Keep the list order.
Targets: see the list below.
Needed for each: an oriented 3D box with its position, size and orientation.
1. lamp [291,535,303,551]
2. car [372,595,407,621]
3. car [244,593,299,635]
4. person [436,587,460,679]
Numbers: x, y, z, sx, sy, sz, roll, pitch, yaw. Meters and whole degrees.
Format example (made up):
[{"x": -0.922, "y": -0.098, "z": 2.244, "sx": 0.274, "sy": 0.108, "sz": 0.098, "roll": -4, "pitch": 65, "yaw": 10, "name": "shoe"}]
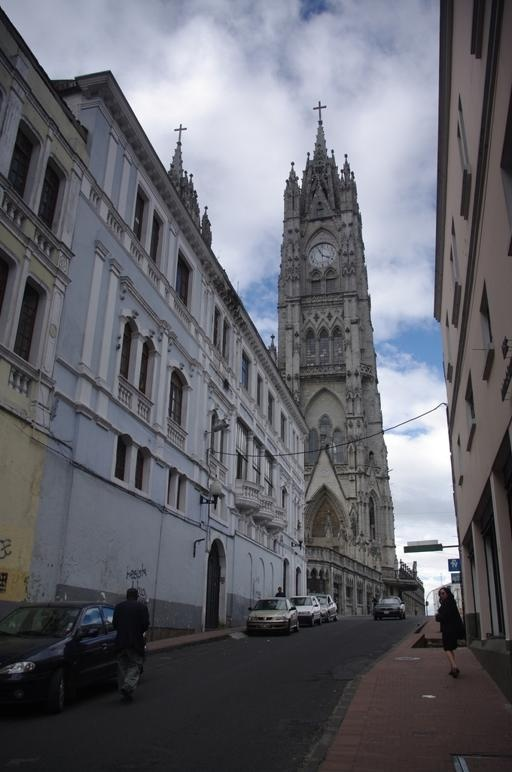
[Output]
[{"x": 3.474, "y": 13.251, "z": 41.053, "sx": 0.546, "sy": 0.966, "sz": 2.506, "roll": -6, "pitch": -10, "yaw": 9, "name": "lamp"}, {"x": 10.156, "y": 16.815, "z": 37.209, "sx": 2.997, "sy": 1.564, "sz": 1.833, "roll": 18, "pitch": -28, "yaw": -36, "name": "car"}, {"x": 0.696, "y": 10.312, "z": 22.050, "sx": 1.869, "sy": 1.505, "sz": 2.513, "roll": -7, "pitch": -23, "yaw": 17, "name": "car"}, {"x": 3.956, "y": 4.916, "z": 9.963, "sx": 0.432, "sy": 1.517, "sz": 2.616, "roll": -6, "pitch": -23, "yaw": 19, "name": "person"}]
